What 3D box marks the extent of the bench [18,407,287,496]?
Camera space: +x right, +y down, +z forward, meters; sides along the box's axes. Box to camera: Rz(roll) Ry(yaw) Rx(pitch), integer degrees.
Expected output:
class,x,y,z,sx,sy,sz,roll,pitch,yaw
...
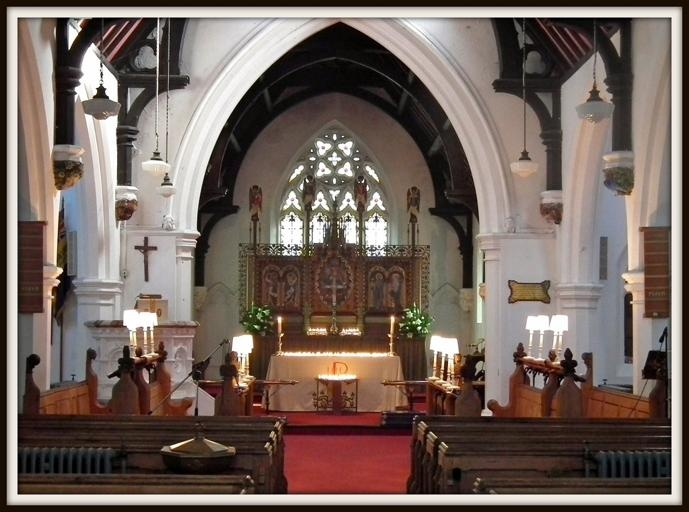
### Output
class,x,y,z,sx,sy,sz,roll,pitch,yaw
bench,-2.060,1.982,12.044,2.739,0.768,2.445,1,-5,2

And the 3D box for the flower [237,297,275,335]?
class,x,y,z,sx,sy,sz,roll,pitch,yaw
flower,-1.561,1.166,22.758,0.604,0.611,0.494,3,-6,-13

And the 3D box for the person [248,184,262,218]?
class,x,y,z,sx,sy,sz,roll,pitch,yaw
person,-1.743,-1.046,24.291,0.263,0.693,0.139,2,-6,-11

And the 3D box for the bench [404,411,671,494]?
class,x,y,z,sx,sy,sz,roll,pitch,yaw
bench,2.023,2.044,12.238,2.588,0.808,2.629,1,-5,5

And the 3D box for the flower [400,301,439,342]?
class,x,y,z,sx,sy,sz,roll,pitch,yaw
flower,1.298,1.202,22.897,0.537,0.632,0.496,2,-6,-3
